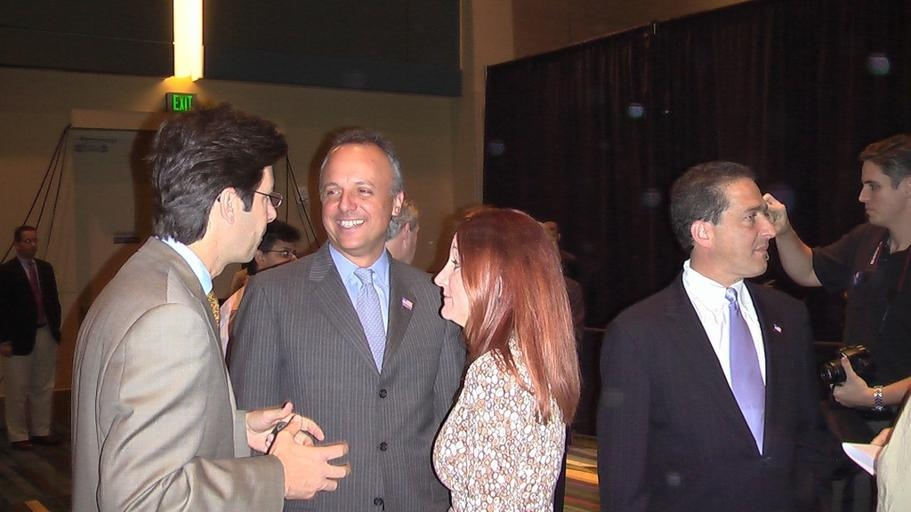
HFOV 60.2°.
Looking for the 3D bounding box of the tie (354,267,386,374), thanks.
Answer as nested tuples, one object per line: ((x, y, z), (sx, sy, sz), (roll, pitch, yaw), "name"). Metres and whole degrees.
((-0.587, 0.439, 5.472), (0.187, 0.710, 0.050), (-5, -12, -13), "tie")

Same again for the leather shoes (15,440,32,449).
((-4.991, 2.179, 9.069), (0.177, 0.068, 0.075), (-3, -8, 15), "leather shoes")
